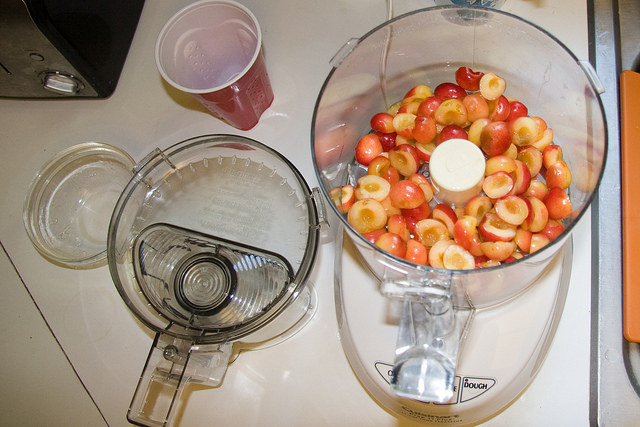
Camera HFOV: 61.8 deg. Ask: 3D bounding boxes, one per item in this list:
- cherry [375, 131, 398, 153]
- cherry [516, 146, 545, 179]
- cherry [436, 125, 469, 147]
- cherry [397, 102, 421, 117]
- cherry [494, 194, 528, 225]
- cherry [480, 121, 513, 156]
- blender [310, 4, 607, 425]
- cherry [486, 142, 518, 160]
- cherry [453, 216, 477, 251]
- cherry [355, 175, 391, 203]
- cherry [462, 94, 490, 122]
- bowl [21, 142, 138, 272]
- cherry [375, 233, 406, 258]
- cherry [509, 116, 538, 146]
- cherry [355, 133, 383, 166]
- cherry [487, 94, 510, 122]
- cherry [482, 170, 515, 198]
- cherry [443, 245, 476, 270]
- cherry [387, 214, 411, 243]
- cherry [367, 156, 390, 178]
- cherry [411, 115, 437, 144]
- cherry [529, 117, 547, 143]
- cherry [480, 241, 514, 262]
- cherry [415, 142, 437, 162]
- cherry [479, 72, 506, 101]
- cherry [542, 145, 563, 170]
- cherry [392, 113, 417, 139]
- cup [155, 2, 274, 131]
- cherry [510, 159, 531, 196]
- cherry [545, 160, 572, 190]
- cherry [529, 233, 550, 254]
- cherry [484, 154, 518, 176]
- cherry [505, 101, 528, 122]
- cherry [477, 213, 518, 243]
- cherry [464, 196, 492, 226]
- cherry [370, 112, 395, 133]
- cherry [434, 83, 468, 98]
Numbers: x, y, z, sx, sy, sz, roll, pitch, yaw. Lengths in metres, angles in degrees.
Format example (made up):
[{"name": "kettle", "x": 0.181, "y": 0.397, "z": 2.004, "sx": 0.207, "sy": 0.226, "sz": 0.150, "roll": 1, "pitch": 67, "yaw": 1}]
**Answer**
[{"name": "cherry", "x": 0.130, "y": -0.140, "z": 1.035, "sx": 0.029, "sy": 0.022, "sz": 0.042, "roll": 0, "pitch": -83, "yaw": 5}, {"name": "cherry", "x": 0.387, "y": -0.092, "z": 0.987, "sx": 0.049, "sy": 0.031, "sz": 0.055, "roll": -8, "pitch": -96, "yaw": 37}, {"name": "cherry", "x": 0.244, "y": -0.144, "z": 0.991, "sx": 0.060, "sy": 0.050, "sz": 0.030, "roll": -6, "pitch": -57, "yaw": 14}, {"name": "cherry", "x": 0.172, "y": -0.204, "z": 1.034, "sx": 0.028, "sy": 0.020, "sz": 0.035, "roll": 2, "pitch": -106, "yaw": 8}, {"name": "cherry", "x": 0.340, "y": -0.006, "z": 0.941, "sx": 0.051, "sy": 0.055, "sz": 0.020, "roll": -45, "pitch": -38, "yaw": -2}, {"name": "cherry", "x": 0.324, "y": -0.145, "z": 0.995, "sx": 0.056, "sy": 0.070, "sz": 0.068, "roll": 5, "pitch": -46, "yaw": 5}, {"name": "blender", "x": 0.269, "y": -0.027, "z": 1.184, "sx": 0.618, "sy": 0.799, "sz": 0.610, "roll": 3, "pitch": -11, "yaw": -30}, {"name": "cherry", "x": 0.335, "y": -0.102, "z": 0.988, "sx": 0.037, "sy": 0.039, "sz": 0.036, "roll": -10, "pitch": -64, "yaw": 48}, {"name": "cherry", "x": 0.255, "y": 0.035, "z": 0.943, "sx": 0.028, "sy": 0.051, "sz": 0.050, "roll": 9, "pitch": -29, "yaw": 13}, {"name": "cherry", "x": 0.097, "y": -0.048, "z": 0.980, "sx": 0.049, "sy": 0.031, "sz": 0.051, "roll": 36, "pitch": -97, "yaw": 17}, {"name": "cherry", "x": 0.288, "y": -0.197, "z": 1.000, "sx": 0.038, "sy": 0.028, "sz": 0.050, "roll": -40, "pitch": -91, "yaw": 13}, {"name": "bowl", "x": -0.532, "y": -0.022, "z": 1.197, "sx": 0.236, "sy": 0.212, "sz": 0.201, "roll": 3, "pitch": -56, "yaw": 8}, {"name": "cherry", "x": 0.126, "y": 0.052, "z": 0.941, "sx": 0.038, "sy": 0.041, "sz": 0.044, "roll": 1, "pitch": -86, "yaw": 8}, {"name": "cherry", "x": 0.375, "y": -0.153, "z": 0.989, "sx": 0.045, "sy": 0.030, "sz": 0.052, "roll": 0, "pitch": -89, "yaw": 16}, {"name": "cherry", "x": 0.091, "y": -0.131, "z": 1.059, "sx": 0.044, "sy": 0.044, "sz": 0.060, "roll": 36, "pitch": -64, "yaw": 18}, {"name": "cherry", "x": 0.333, "y": -0.193, "z": 0.997, "sx": 0.042, "sy": 0.024, "sz": 0.045, "roll": 41, "pitch": -84, "yaw": 26}, {"name": "cherry", "x": 0.318, "y": -0.054, "z": 0.974, "sx": 0.046, "sy": 0.061, "sz": 0.024, "roll": -22, "pitch": -110, "yaw": 34}, {"name": "cherry", "x": 0.238, "y": 0.082, "z": 0.917, "sx": 0.054, "sy": 0.062, "sz": 0.024, "roll": 7, "pitch": -54, "yaw": 5}, {"name": "cherry", "x": 0.138, "y": 0.030, "z": 0.976, "sx": 0.015, "sy": 0.043, "sz": 0.046, "roll": -21, "pitch": -107, "yaw": 24}, {"name": "cherry", "x": 0.109, "y": -0.089, "z": 1.001, "sx": 0.033, "sy": 0.038, "sz": 0.024, "roll": -33, "pitch": -80, "yaw": -4}, {"name": "cherry", "x": 0.196, "y": -0.158, "z": 1.004, "sx": 0.056, "sy": 0.050, "sz": 0.060, "roll": -4, "pitch": -94, "yaw": 46}, {"name": "cherry", "x": 0.409, "y": -0.155, "z": 0.998, "sx": 0.021, "sy": 0.036, "sz": 0.041, "roll": -7, "pitch": -97, "yaw": 58}, {"name": "cherry", "x": 0.310, "y": 0.065, "z": 0.943, "sx": 0.056, "sy": 0.021, "sz": 0.034, "roll": 4, "pitch": -57, "yaw": 8}, {"name": "cherry", "x": 0.195, "y": -0.118, "z": 0.997, "sx": 0.033, "sy": 0.037, "sz": 0.022, "roll": -2, "pitch": -19, "yaw": 2}, {"name": "cherry", "x": 0.320, "y": -0.238, "z": 1.001, "sx": 0.042, "sy": 0.017, "sz": 0.050, "roll": 23, "pitch": -88, "yaw": 21}, {"name": "cherry", "x": 0.423, "y": -0.102, "z": 0.984, "sx": 0.023, "sy": 0.036, "sz": 0.041, "roll": -12, "pitch": -100, "yaw": 59}, {"name": "cherry", "x": 0.159, "y": -0.168, "z": 1.013, "sx": 0.041, "sy": 0.027, "sz": 0.046, "roll": 15, "pitch": -96, "yaw": 13}, {"name": "cup", "x": -0.221, "y": -0.335, "z": 1.207, "sx": 0.184, "sy": 0.199, "sz": 0.303, "roll": -14, "pitch": -102, "yaw": 9}, {"name": "cherry", "x": 0.363, "y": -0.064, "z": 0.965, "sx": 0.030, "sy": 0.052, "sz": 0.051, "roll": 3, "pitch": -22, "yaw": -16}, {"name": "cherry", "x": 0.434, "y": -0.068, "z": 0.969, "sx": 0.046, "sy": 0.036, "sz": 0.042, "roll": -3, "pitch": -57, "yaw": 12}, {"name": "cherry", "x": 0.384, "y": 0.050, "z": 0.943, "sx": 0.032, "sy": 0.034, "sz": 0.034, "roll": 1, "pitch": -84, "yaw": -2}, {"name": "cherry", "x": 0.322, "y": -0.089, "z": 0.961, "sx": 0.042, "sy": 0.033, "sz": 0.037, "roll": -8, "pitch": -95, "yaw": 6}, {"name": "cherry", "x": 0.371, "y": -0.194, "z": 1.008, "sx": 0.035, "sy": 0.037, "sz": 0.038, "roll": -19, "pitch": -104, "yaw": 7}, {"name": "cherry", "x": 0.310, "y": 0.028, "z": 0.943, "sx": 0.048, "sy": 0.032, "sz": 0.055, "roll": -5, "pitch": -104, "yaw": 8}, {"name": "cherry", "x": 0.287, "y": -0.006, "z": 0.963, "sx": 0.044, "sy": 0.030, "sz": 0.052, "roll": 1, "pitch": -85, "yaw": 14}, {"name": "cherry", "x": 0.120, "y": -0.174, "z": 1.028, "sx": 0.040, "sy": 0.032, "sz": 0.024, "roll": 23, "pitch": -14, "yaw": 30}, {"name": "cherry", "x": 0.251, "y": -0.237, "z": 1.034, "sx": 0.042, "sy": 0.035, "sz": 0.024, "roll": 6, "pitch": -44, "yaw": 9}]
